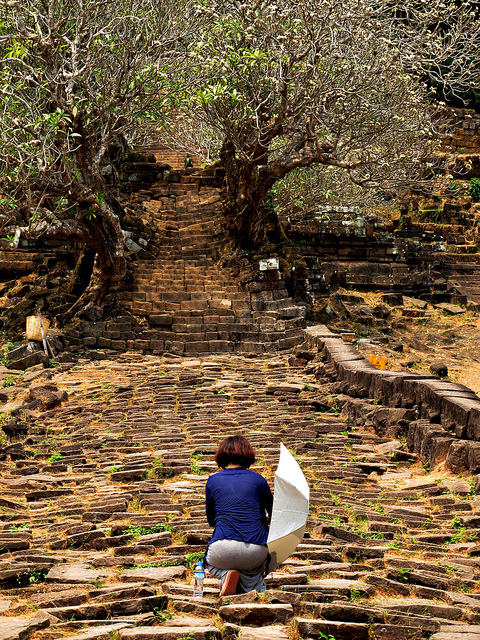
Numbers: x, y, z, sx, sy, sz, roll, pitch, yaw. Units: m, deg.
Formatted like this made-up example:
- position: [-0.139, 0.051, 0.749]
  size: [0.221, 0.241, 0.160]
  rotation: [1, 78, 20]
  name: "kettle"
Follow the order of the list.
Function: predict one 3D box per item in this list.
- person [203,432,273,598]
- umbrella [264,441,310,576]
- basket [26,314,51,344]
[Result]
- position: [0.000, 1.175, 4.457]
  size: [0.409, 0.702, 0.713]
  rotation: [1, 21, -1]
  name: "person"
- position: [0.295, 1.197, 4.520]
  size: [0.308, 0.758, 0.844]
  rotation: [2, -3, -3]
  name: "umbrella"
- position: [-3.623, 0.182, 13.077]
  size: [0.514, 0.478, 0.473]
  rotation: [16, -14, -13]
  name: "basket"
